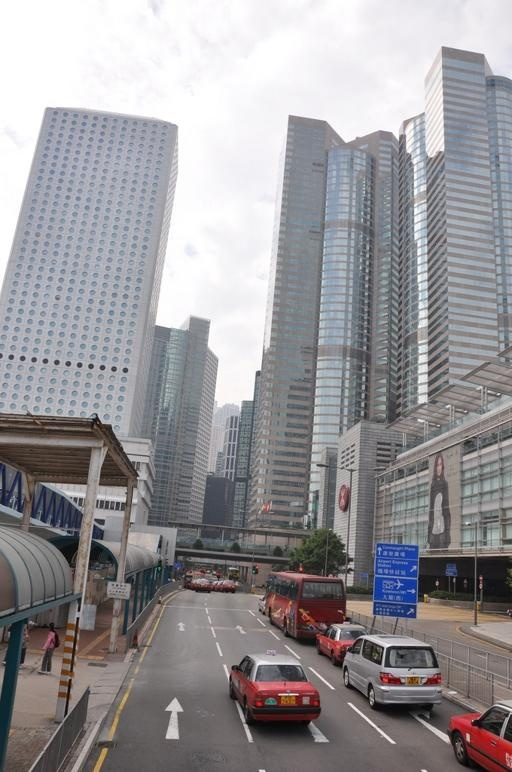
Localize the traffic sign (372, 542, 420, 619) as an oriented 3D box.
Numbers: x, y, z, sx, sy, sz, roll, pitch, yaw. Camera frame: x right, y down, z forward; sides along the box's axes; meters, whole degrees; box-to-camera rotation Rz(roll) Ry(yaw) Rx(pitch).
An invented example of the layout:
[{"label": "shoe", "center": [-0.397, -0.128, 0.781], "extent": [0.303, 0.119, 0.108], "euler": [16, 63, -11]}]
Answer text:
[{"label": "traffic sign", "center": [5.458, 7.490, 23.397], "extent": [1.740, 2.684, 0.031], "euler": [5, -14, 1]}]

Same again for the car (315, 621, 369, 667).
[{"label": "car", "center": [3.382, 10.129, 23.747], "extent": [1.507, 1.177, 3.253], "euler": [6, -21, -7]}]

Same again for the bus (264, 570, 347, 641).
[{"label": "bus", "center": [2.457, 12.220, 34.355], "extent": [2.460, 3.640, 12.550], "euler": [7, -12, -5]}]

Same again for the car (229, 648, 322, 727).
[{"label": "car", "center": [0.344, 7.447, 15.122], "extent": [1.751, 1.337, 3.893], "euler": [4, -17, -8]}]

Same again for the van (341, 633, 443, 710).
[{"label": "van", "center": [3.993, 8.088, 17.348], "extent": [2.284, 2.059, 4.842], "euler": [6, -12, 0]}]
